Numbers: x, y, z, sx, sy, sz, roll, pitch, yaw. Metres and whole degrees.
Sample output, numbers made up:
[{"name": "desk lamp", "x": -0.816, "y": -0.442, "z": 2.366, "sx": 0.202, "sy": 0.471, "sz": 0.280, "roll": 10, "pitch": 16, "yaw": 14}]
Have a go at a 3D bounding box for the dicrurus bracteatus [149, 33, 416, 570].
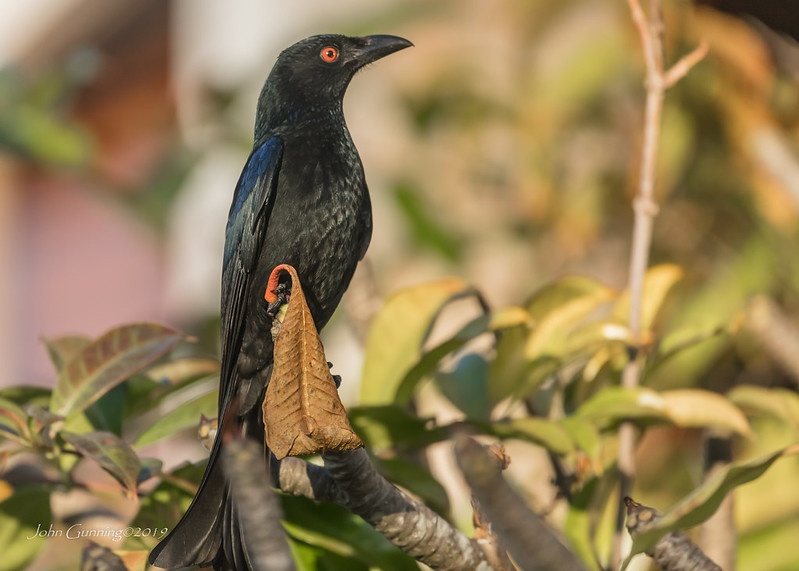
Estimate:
[{"name": "dicrurus bracteatus", "x": -0.308, "y": 0.007, "z": 3.483, "sx": 0.377, "sy": 1.403, "sz": 0.731, "roll": -3, "pitch": 0, "yaw": 39}]
